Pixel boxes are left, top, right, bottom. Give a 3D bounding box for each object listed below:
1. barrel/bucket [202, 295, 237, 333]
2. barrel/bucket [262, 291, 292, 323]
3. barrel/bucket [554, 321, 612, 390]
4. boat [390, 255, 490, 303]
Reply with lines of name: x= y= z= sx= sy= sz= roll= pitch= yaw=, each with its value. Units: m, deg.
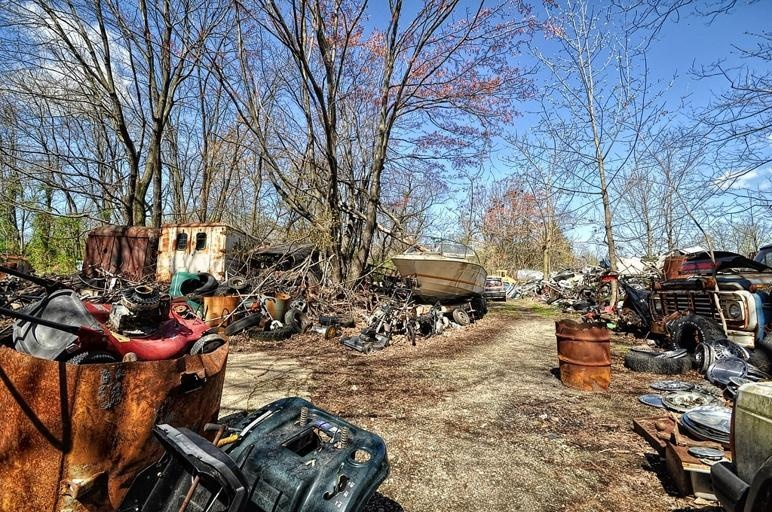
barrel/bucket: x=-3.935 y=1.432 z=11.317 sx=0.753 sy=0.859 sz=0.803 roll=0 pitch=-19 yaw=0
barrel/bucket: x=-2.723 y=1.263 z=11.564 sx=0.584 sy=0.632 sz=0.603 roll=0 pitch=-19 yaw=0
barrel/bucket: x=3.329 y=1.628 z=7.663 sx=0.935 sy=1.053 sz=0.978 roll=-2 pitch=2 yaw=0
boat: x=1.606 y=0.671 z=13.577 sx=2.743 sy=1.504 sz=1.617 roll=-1 pitch=1 yaw=-1
